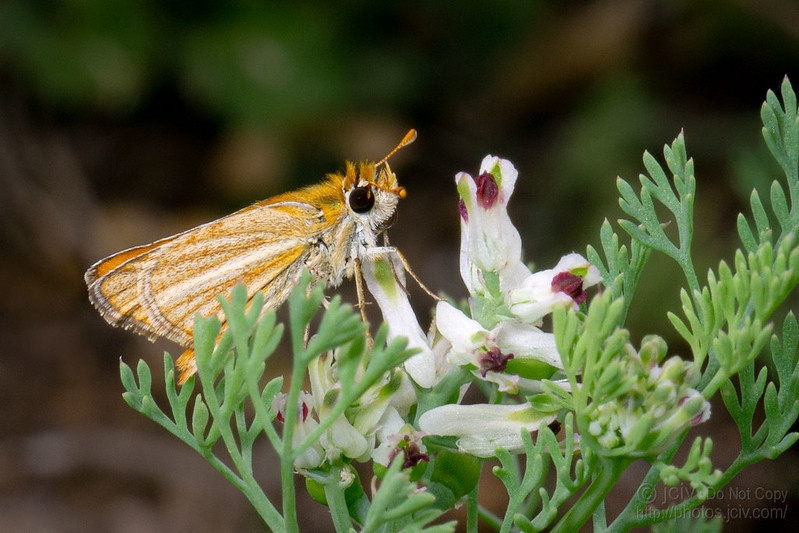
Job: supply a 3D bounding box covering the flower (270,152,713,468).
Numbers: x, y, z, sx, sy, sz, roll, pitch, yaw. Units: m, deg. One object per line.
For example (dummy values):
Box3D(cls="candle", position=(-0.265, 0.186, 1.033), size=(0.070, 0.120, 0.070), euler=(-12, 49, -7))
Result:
Box3D(cls="flower", position=(0.395, 0.680, 5.109), size=(1.880, 1.517, 1.798), euler=(-11, -20, 9))
